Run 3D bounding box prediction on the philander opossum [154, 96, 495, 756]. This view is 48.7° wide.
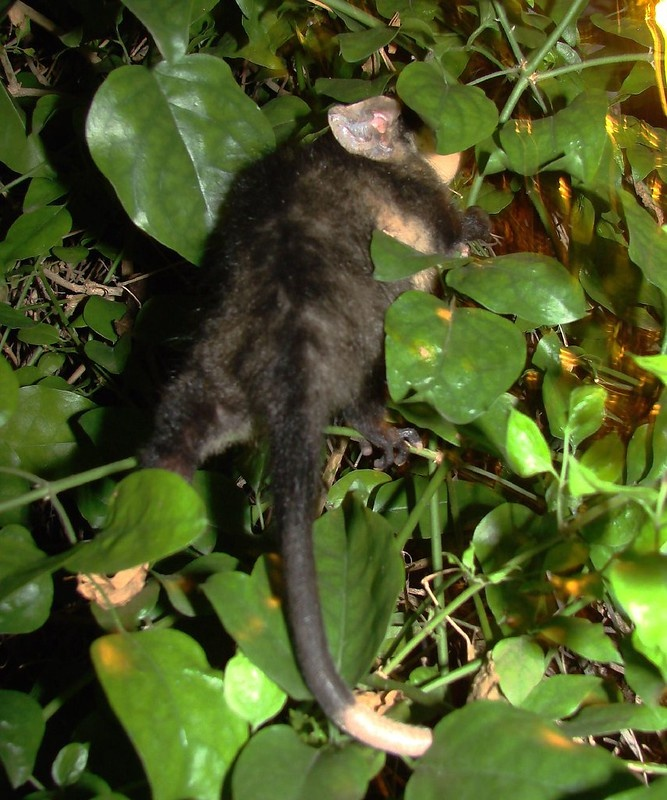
[{"bbox_3d":[0.008,-0.063,1.066,0.472,0.372,0.889,8,87,17],"label":"philander opossum"}]
